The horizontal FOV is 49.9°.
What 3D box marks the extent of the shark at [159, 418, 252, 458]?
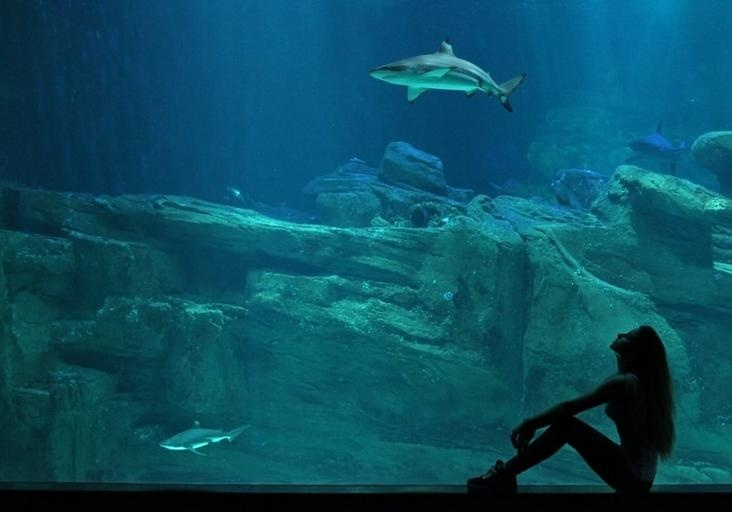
[{"bbox_3d":[-3.943,4.399,18.955,1.951,0.908,0.930,-1,6,-15],"label":"shark"}]
